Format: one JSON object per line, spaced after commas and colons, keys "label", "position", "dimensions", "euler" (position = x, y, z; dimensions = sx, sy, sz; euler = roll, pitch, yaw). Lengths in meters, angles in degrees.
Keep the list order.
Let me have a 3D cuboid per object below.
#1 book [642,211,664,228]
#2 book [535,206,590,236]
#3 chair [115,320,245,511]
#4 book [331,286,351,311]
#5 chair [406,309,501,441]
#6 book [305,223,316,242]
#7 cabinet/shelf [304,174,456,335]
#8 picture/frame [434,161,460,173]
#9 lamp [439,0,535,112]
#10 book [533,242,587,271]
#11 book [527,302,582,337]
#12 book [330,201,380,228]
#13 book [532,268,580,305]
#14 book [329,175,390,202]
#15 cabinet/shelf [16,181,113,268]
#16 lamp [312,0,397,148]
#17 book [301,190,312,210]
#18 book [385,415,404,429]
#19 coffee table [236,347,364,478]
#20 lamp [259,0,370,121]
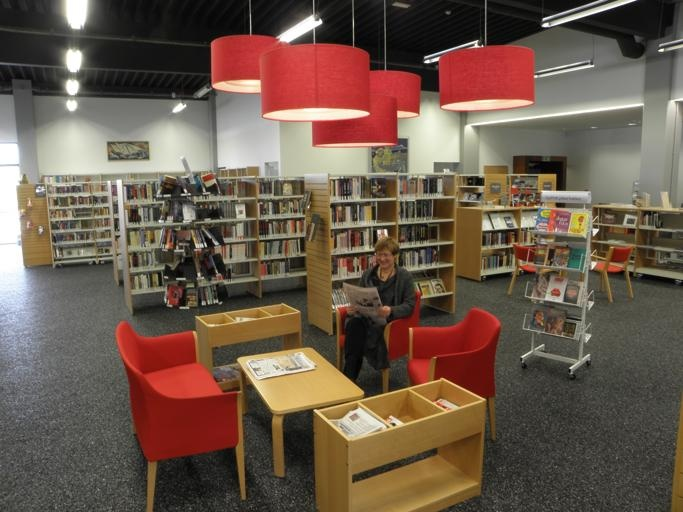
{"label": "book", "position": [6.180, -0.721, 10.104], "dimensions": [0.275, 0.413, 0.393], "euler": [-4, 6, -18]}
{"label": "book", "position": [2.602, -0.401, 5.961], "dimensions": [0.569, 0.290, 0.184], "euler": [5, 13, 37]}
{"label": "chair", "position": [-1.414, 1.304, 4.446], "dimensions": [0.868, 1.359, 1.222], "euler": [-8, 11, -27]}
{"label": "book", "position": [0.005, 0.577, 6.972], "dimensions": [0.225, 0.336, 0.107], "euler": [-3, 0, -29]}
{"label": "chair", "position": [1.095, 0.990, 5.350], "dimensions": [1.008, 1.534, 1.102], "euler": [-1, 4, -18]}
{"label": "book", "position": [-0.399, -0.326, 7.069], "dimensions": [0.055, 0.234, 0.199], "euler": [11, -7, -31]}
{"label": "cabinet/shelf", "position": [0.470, -0.087, 6.911], "dimensions": [1.986, 2.079, 0.707], "euler": [-3, 4, -34]}
{"label": "picture/frame", "position": [2.777, -2.298, 13.323], "dimensions": [0.560, 0.311, 1.482], "euler": [0, 11, 16]}
{"label": "lamp", "position": [1.397, -1.762, 4.907], "dimensions": [0.745, 0.937, 0.783], "euler": [-1, -2, 17]}
{"label": "book", "position": [2.614, 0.003, 6.006], "dimensions": [0.596, 0.292, 0.227], "euler": [2, 11, 24]}
{"label": "book", "position": [2.530, 0.762, 6.058], "dimensions": [0.591, 0.329, 0.231], "euler": [2, 11, 24]}
{"label": "book", "position": [0.206, -0.610, 7.343], "dimensions": [0.813, 0.304, 0.228], "euler": [-9, 12, -26]}
{"label": "book", "position": [2.570, 0.374, 6.070], "dimensions": [0.420, 0.429, 0.100], "euler": [15, -3, 31]}
{"label": "book", "position": [0.282, -0.961, 7.195], "dimensions": [0.928, 0.359, 0.243], "euler": [-10, 12, -31]}
{"label": "cabinet/shelf", "position": [-7.113, -0.771, 12.941], "dimensions": [1.906, 2.088, 0.667], "euler": [-1, 0, -29]}
{"label": "lamp", "position": [0.189, -1.492, 5.149], "dimensions": [0.589, 1.689, 0.627], "euler": [0, -2, -22]}
{"label": "book", "position": [-0.511, -0.788, 7.298], "dimensions": [0.125, 0.271, 0.336], "euler": [-5, 11, -11]}
{"label": "book", "position": [0.397, 1.294, 3.962], "dimensions": [0.116, 0.044, 0.117], "euler": [0, 8, -37]}
{"label": "coffee table", "position": [-0.328, 1.070, 4.577], "dimensions": [0.784, 0.640, 1.303], "euler": [-3, 9, -22]}
{"label": "lamp", "position": [-0.230, -1.339, 3.898], "dimensions": [0.641, 0.779, 0.668], "euler": [0, 0, -32]}
